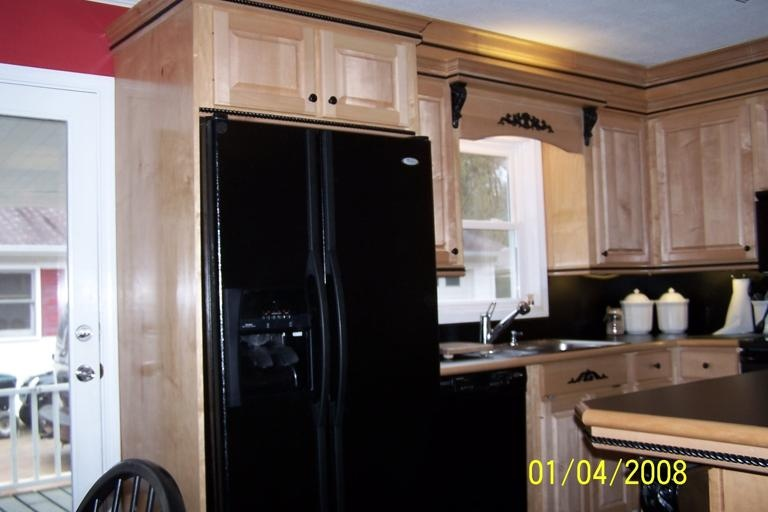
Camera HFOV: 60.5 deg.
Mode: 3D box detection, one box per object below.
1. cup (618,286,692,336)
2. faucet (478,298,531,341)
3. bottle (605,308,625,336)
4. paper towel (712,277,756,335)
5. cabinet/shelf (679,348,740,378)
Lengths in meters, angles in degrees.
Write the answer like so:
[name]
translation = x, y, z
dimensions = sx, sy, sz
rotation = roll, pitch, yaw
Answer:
[cup]
translation = 2.076, 0.432, 5.066
dimensions = 0.476, 0.342, 0.283
rotation = -1, -3, -16
[faucet]
translation = 0.820, 0.464, 4.492
dimensions = 0.453, 0.281, 0.083
rotation = 0, -15, -32
[bottle]
translation = 1.745, 0.501, 5.017
dimensions = 0.139, 0.205, 0.202
rotation = -3, -3, 18
[paper towel]
translation = 2.588, 0.375, 4.915
dimensions = 0.218, 0.407, 0.384
rotation = -6, -5, 44
[cabinet/shelf]
translation = 2.223, 0.735, 4.542
dimensions = 0.342, 0.324, 0.231
rotation = -8, -15, 41
